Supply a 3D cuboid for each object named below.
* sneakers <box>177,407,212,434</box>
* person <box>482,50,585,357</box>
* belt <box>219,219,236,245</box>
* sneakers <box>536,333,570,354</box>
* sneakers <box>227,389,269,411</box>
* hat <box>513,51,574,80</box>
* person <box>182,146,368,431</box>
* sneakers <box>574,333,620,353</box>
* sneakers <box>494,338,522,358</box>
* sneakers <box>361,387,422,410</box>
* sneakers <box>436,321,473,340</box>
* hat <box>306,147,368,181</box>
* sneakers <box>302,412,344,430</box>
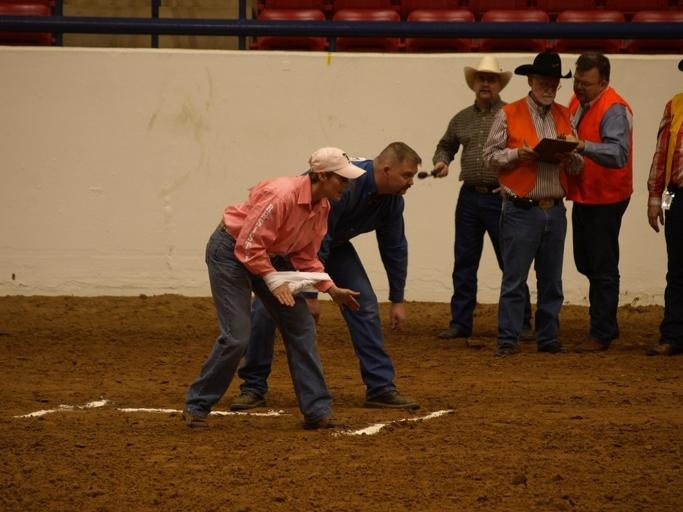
[{"bbox_3d":[-1.178,1.313,7.541,0.113,0.114,0.272,-2,24,-45],"label":"sneakers"},{"bbox_3d":[1.881,-0.457,9.214,0.913,2.980,0.674,-2,14,-4],"label":"person"},{"bbox_3d":[-0.911,-0.186,7.449,0.068,0.169,0.136,-25,4,12],"label":"belt"},{"bbox_3d":[2.165,0.889,9.462,0.327,0.124,0.141,-16,-2,34],"label":"sneakers"},{"bbox_3d":[-0.806,1.262,8.135,0.349,0.132,0.124,7,-2,-38],"label":"sneakers"},{"bbox_3d":[1.949,-1.904,9.183,0.439,0.185,0.501,6,-2,-14],"label":"hat"},{"bbox_3d":[-0.537,0.281,7.436,1.400,2.233,0.566,-1,14,-1],"label":"person"},{"bbox_3d":[2.591,0.913,9.577,0.442,0.159,0.157,-1,-5,-7],"label":"sneakers"},{"bbox_3d":[1.620,0.928,9.413,0.168,0.115,0.360,28,-16,-17],"label":"sneakers"},{"bbox_3d":[0.422,1.239,8.066,0.475,0.147,0.163,-1,-6,12],"label":"sneakers"},{"bbox_3d":[1.259,0.842,10.257,0.441,0.153,0.146,2,-4,-19],"label":"sneakers"},{"bbox_3d":[-0.022,-0.754,7.349,0.499,0.219,0.300,4,25,27],"label":"hat"},{"bbox_3d":[-0.145,1.322,7.536,0.303,0.115,0.122,-5,-3,8],"label":"sneakers"}]
